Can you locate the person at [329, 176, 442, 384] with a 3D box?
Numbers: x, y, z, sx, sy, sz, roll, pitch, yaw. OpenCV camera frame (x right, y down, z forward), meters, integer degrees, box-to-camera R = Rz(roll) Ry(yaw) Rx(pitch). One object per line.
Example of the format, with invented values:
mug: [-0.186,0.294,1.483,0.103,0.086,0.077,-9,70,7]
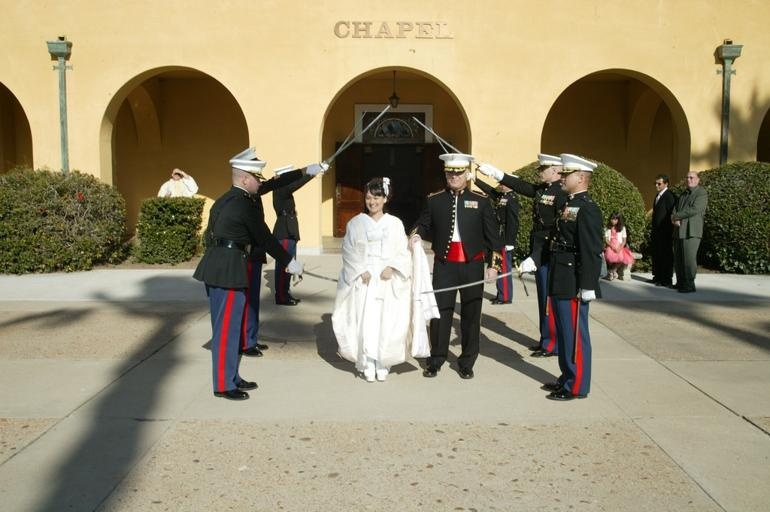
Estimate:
person: [-0.029,0.477,8.037,1.172,2.027,0.415,1,4,-7]

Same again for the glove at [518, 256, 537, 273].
glove: [1.659,0.136,7.837,0.146,0.072,0.205,-9,27,39]

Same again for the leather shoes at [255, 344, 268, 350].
leather shoes: [-1.632,1.203,8.884,0.159,0.071,0.056,-3,12,-4]

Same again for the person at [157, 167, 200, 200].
person: [-4.419,-1.480,14.367,0.854,1.026,0.381,0,0,-6]

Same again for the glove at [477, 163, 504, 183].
glove: [1.421,-1.141,8.966,0.102,0.253,0.422,-26,46,-36]

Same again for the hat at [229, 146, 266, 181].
hat: [-1.635,-1.038,7.964,0.452,0.420,0.398,8,14,-17]

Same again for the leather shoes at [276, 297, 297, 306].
leather shoes: [-1.595,0.723,10.813,0.354,0.172,0.125,-3,4,2]

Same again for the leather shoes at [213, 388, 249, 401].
leather shoes: [-1.724,1.561,7.546,0.344,0.173,0.144,-1,3,1]

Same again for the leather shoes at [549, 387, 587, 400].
leather shoes: [2.026,1.576,7.573,0.352,0.177,0.171,6,2,9]

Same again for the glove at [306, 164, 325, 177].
glove: [-0.864,-1.094,8.464,0.243,0.159,0.249,1,4,-6]

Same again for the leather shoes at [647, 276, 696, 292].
leather shoes: [4.985,0.517,11.754,0.668,0.309,0.218,17,15,40]

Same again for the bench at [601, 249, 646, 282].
bench: [4.230,0.192,12.090,0.455,0.345,0.275,9,29,21]

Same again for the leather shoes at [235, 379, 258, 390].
leather shoes: [-1.596,1.496,7.796,0.198,0.088,0.112,1,7,-5]

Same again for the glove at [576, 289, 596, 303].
glove: [2.227,0.454,7.495,0.124,0.159,0.160,-1,-1,-5]

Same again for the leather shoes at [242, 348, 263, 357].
leather shoes: [-1.703,1.253,8.665,0.238,0.113,0.113,-1,1,3]

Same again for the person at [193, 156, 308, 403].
person: [-1.700,0.172,7.691,0.899,2.851,0.582,0,4,-20]
